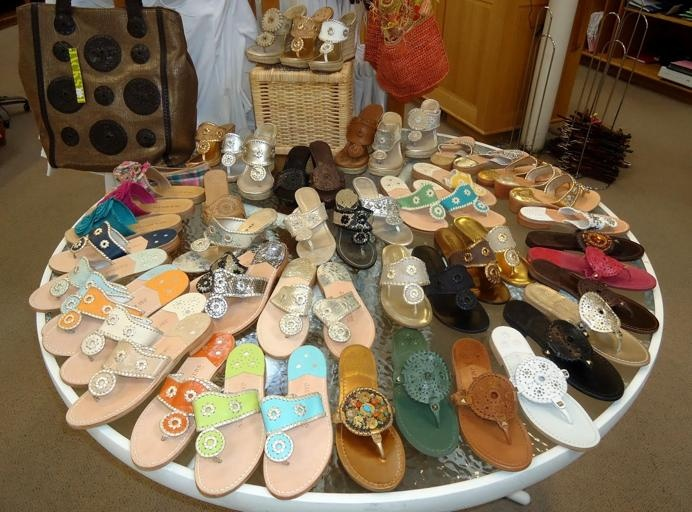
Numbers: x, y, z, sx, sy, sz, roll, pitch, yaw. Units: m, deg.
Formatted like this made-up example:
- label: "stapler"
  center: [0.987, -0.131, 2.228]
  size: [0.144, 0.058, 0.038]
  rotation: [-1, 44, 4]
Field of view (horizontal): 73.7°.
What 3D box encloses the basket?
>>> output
- label: "basket"
  center: [-0.241, -0.812, 2.451]
  size: [0.470, 0.382, 0.500]
  rotation: [2, 33, 1]
